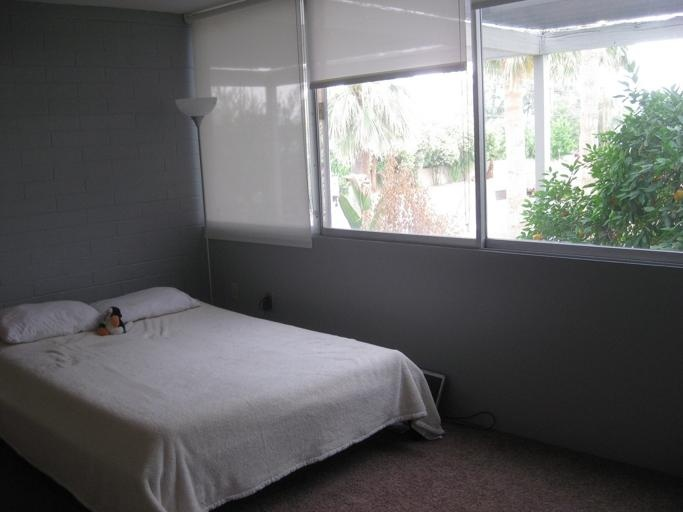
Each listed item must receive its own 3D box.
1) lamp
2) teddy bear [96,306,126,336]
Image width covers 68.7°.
[{"bbox_3d":[-1.202,-0.726,4.313,0.206,1.192,0.228,-9,-14,3],"label":"lamp"},{"bbox_3d":[-1.767,0.495,3.839,0.200,0.178,0.211,3,-6,-37],"label":"teddy bear"}]
